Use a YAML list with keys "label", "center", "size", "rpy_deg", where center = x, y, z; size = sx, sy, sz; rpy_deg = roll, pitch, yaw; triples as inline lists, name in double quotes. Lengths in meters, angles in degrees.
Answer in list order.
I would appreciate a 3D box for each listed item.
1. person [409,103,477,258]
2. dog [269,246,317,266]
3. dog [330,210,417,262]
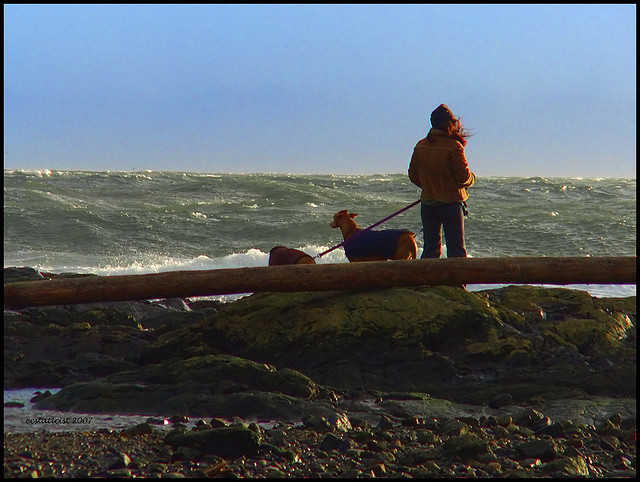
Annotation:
- label: "person"
  center: [2.017, -0.950, 12.172]
  size: [0.609, 2.430, 1.181]
  rpy_deg: [3, -4, -38]
- label: "dog"
  center: [-0.465, 0.239, 11.689]
  size: [0.367, 0.220, 0.575]
  rpy_deg: [-10, 13, -43]
- label: "dog"
  center: [0.897, -0.095, 11.744]
  size: [0.729, 0.817, 1.518]
  rpy_deg: [2, -2, -37]
